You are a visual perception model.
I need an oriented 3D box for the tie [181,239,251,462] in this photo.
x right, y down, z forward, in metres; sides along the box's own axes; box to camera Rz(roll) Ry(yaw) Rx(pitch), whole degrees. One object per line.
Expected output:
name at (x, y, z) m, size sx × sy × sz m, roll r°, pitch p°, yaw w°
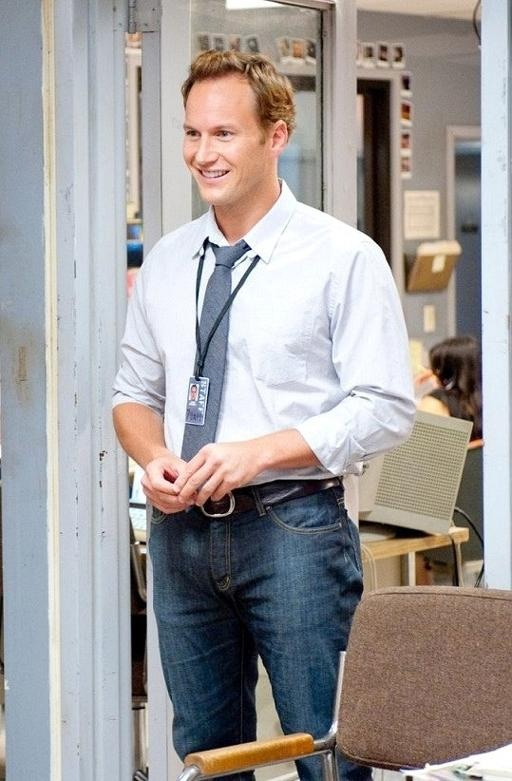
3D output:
tie at (-0.073, -0.060, 1.849) m, size 0.093 × 0.372 × 0.038 m, roll 0°, pitch 1°, yaw 20°
